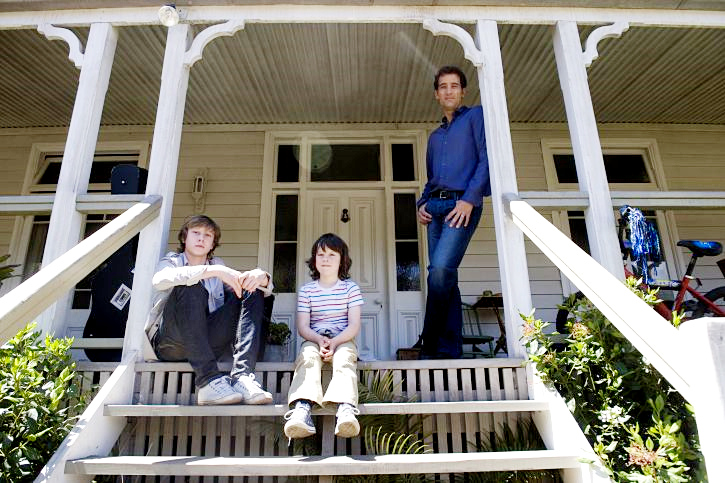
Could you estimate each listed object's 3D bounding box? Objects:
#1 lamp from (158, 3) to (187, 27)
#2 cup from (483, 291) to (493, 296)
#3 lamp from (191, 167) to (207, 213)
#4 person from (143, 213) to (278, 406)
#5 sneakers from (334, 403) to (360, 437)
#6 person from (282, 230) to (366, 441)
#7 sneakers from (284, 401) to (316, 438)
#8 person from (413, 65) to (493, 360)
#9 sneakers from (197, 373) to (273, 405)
[{"bbox_3d":[-1.512,-1.812,3.569,0.174,0.185,0.127,2,2,15],"label":"lamp"},{"bbox_3d":[1.359,0.570,4.864,0.062,0.063,0.061,21,-15,6],"label":"cup"},{"bbox_3d":[-1.897,-0.592,5.251,0.178,0.513,0.175,0,2,-20],"label":"lamp"},{"bbox_3d":[-0.922,0.375,2.768,0.636,1.031,1.073,-1,3,-37],"label":"person"},{"bbox_3d":[-0.079,0.933,2.327,0.121,0.157,0.155,1,3,-3],"label":"sneakers"},{"bbox_3d":[-0.220,0.551,2.813,0.429,1.129,1.169,1,3,-2],"label":"person"},{"bbox_3d":[-0.326,0.927,2.334,0.144,0.158,0.199,0,3,-11],"label":"sneakers"},{"bbox_3d":[0.739,-0.264,3.693,0.583,2.499,0.793,1,2,7],"label":"person"},{"bbox_3d":[-0.703,0.803,2.489,0.319,0.128,0.185,-9,-18,27],"label":"sneakers"}]
